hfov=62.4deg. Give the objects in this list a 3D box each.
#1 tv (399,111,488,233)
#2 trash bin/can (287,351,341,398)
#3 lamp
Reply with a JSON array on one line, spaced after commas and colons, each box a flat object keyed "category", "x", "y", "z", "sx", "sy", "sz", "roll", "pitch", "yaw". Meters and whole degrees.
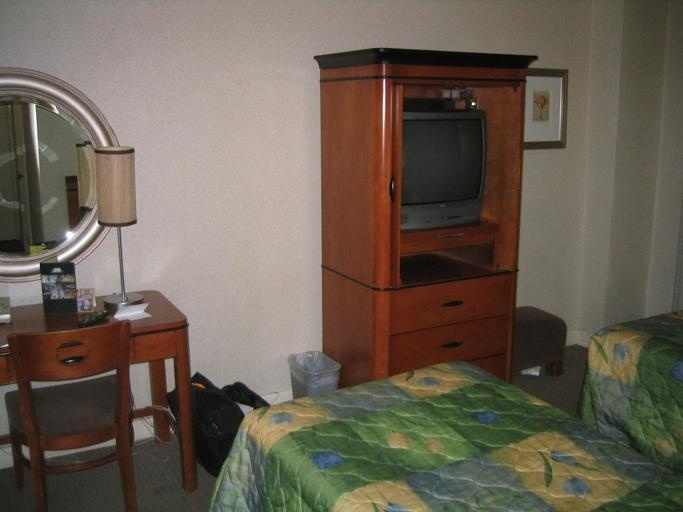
[{"category": "tv", "x": 0.563, "y": -0.504, "z": 3.259, "sx": 0.616, "sy": 0.590, "sz": 0.370, "roll": -6, "pitch": 13, "yaw": -26}, {"category": "trash bin/can", "x": -0.186, "y": 0.719, "z": 3.468, "sx": 0.264, "sy": 0.268, "sz": 0.318, "roll": 0, "pitch": 6, "yaw": -24}, {"category": "lamp", "x": -1.198, "y": -0.165, "z": 3.017, "sx": 0.242, "sy": 0.822, "sz": 0.266, "roll": -7, "pitch": 11, "yaw": -19}]
